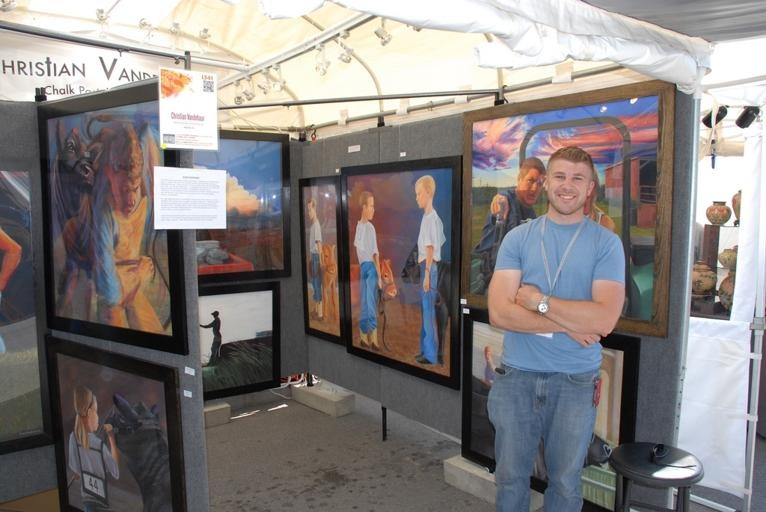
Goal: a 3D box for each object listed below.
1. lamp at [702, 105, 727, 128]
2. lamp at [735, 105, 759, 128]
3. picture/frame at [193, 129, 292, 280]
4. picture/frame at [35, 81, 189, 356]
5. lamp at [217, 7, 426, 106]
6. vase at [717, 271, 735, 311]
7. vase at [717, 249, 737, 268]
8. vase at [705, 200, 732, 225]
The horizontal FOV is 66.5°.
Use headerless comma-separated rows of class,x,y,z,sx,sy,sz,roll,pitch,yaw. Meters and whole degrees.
lamp,3.061,-1.293,5.380,0.199,0.202,0.459,3,12,23
lamp,3.284,-1.259,5.268,0.139,0.218,0.059,40,19,21
picture/frame,-1.760,-0.591,7.221,1.518,1.768,0.090,2,6,24
picture/frame,-1.938,-0.277,4.236,1.996,2.381,0.085,4,8,36
lamp,-0.724,-1.992,5.504,1.572,0.081,0.120,-32,10,-16
vase,3.195,0.339,5.442,0.123,0.349,0.175,4,12,28
vase,3.267,0.038,5.495,0.105,0.197,0.272,-1,11,4
vase,3.262,-0.403,5.757,0.220,0.255,0.225,6,-4,11
